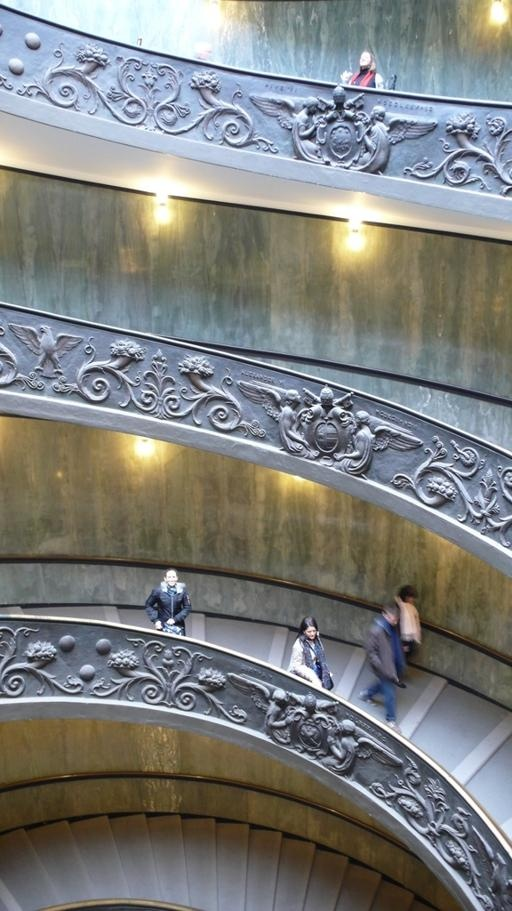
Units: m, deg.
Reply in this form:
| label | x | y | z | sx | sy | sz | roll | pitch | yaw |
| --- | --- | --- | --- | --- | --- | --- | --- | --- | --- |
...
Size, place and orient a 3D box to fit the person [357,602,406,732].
| label | x | y | z | sx | sy | sz | roll | pitch | yaw |
| --- | --- | --- | --- | --- | --- | --- | --- | --- | --- |
| person | 1.497 | 2.421 | 29.145 | 0.382 | 0.672 | 1.612 | -7 | -58 | -14 |

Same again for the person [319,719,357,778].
| label | x | y | z | sx | sy | sz | roll | pitch | yaw |
| --- | --- | --- | --- | --- | --- | --- | --- | --- | --- |
| person | 0.971 | 3.395 | 29.191 | 0.376 | 0.392 | 0.841 | 12 | -51 | 5 |

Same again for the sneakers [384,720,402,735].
| label | x | y | z | sx | sy | sz | roll | pitch | yaw |
| --- | --- | --- | --- | --- | --- | --- | --- | --- | --- |
| sneakers | 1.618 | 3.224 | 29.251 | 0.081 | 0.323 | 0.167 | -1 | -87 | -16 |

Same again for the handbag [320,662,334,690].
| label | x | y | z | sx | sy | sz | roll | pitch | yaw |
| --- | --- | --- | --- | --- | --- | --- | --- | --- | --- |
| handbag | 0.784 | 2.625 | 29.344 | 0.130 | 0.060 | 0.344 | -6 | -87 | -37 |

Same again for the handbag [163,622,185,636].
| label | x | y | z | sx | sy | sz | roll | pitch | yaw |
| --- | --- | --- | --- | --- | --- | --- | --- | --- | --- |
| handbag | -1.029 | 2.076 | 29.673 | 0.174 | 0.159 | 0.098 | 16 | -75 | -12 |
